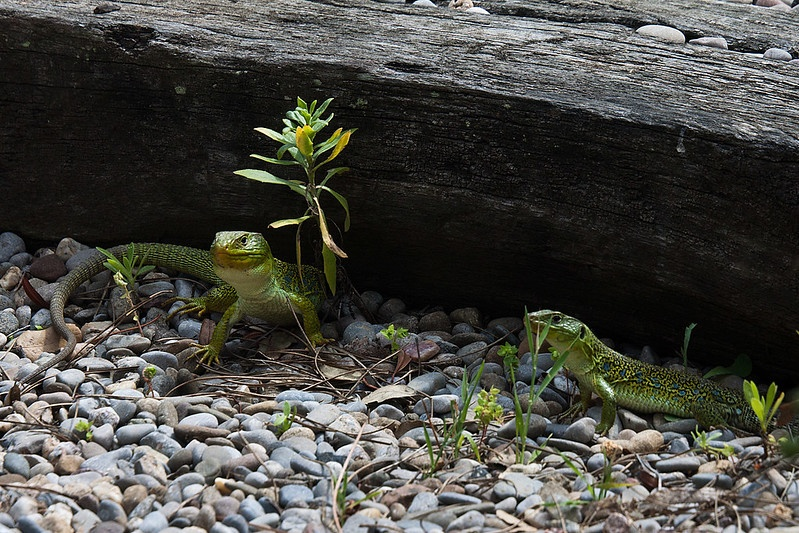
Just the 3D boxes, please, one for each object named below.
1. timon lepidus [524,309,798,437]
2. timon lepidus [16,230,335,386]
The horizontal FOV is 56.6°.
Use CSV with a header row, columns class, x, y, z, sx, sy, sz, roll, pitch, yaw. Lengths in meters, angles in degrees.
class,x,y,z,sx,sy,sz,roll,pitch,yaw
timon lepidus,1.498,0.708,4.611,1.535,0.564,0.503,14,32,11
timon lepidus,-1.446,0.084,5.142,1.929,0.900,1.389,1,31,-12
